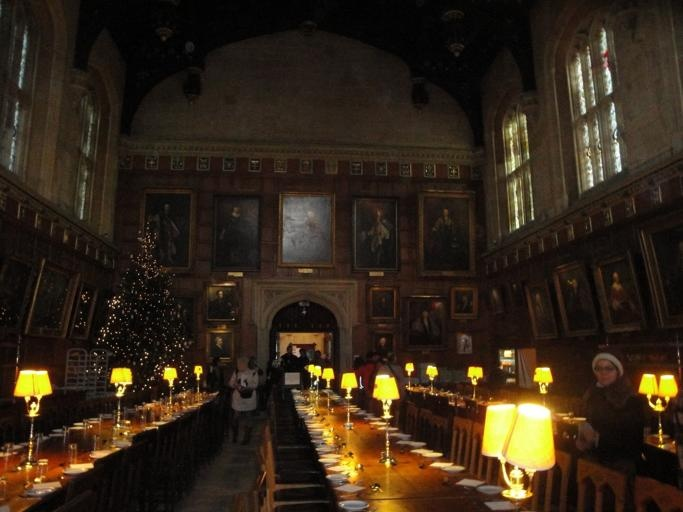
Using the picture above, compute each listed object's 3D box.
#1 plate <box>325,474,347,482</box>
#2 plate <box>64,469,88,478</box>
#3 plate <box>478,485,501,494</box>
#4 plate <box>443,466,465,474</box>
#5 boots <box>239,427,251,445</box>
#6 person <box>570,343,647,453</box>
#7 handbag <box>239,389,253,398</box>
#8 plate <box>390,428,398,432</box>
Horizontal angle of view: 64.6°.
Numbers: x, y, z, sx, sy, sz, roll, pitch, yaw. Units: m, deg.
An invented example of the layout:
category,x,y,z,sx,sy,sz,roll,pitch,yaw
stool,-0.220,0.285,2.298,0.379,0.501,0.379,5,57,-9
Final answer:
category,x,y,z,sx,sy,sz,roll,pitch,yaw
plate,-0.038,1.986,4.810,0.180,0.051,0.154,0,-13,-2
plate,-2.418,1.967,4.872,0.150,0.052,0.242,7,-15,-29
plate,1.238,1.958,4.526,0.196,0.052,0.119,-4,-14,15
plate,1.061,2.024,5.122,0.190,0.052,0.237,-3,-14,10
boots,-1.934,3.619,10.879,0.163,0.309,0.412,2,-13,-11
person,2.405,1.412,4.966,0.673,1.122,0.641,3,-1,-29
handbag,-1.893,2.720,10.700,0.264,0.194,0.089,3,-13,-16
plate,0.677,2.257,6.977,0.098,0.025,0.105,1,-6,9
